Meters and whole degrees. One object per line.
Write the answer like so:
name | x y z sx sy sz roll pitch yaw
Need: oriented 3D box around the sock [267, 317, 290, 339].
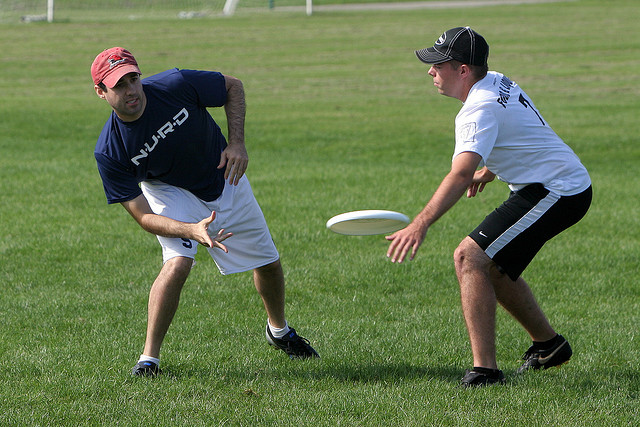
sock | -0.554 1.631 17.161 0.350 0.255 0.212 -2 20 -1

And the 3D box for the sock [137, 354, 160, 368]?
sock | -2.327 2.020 16.607 0.285 0.227 0.193 1 19 1
